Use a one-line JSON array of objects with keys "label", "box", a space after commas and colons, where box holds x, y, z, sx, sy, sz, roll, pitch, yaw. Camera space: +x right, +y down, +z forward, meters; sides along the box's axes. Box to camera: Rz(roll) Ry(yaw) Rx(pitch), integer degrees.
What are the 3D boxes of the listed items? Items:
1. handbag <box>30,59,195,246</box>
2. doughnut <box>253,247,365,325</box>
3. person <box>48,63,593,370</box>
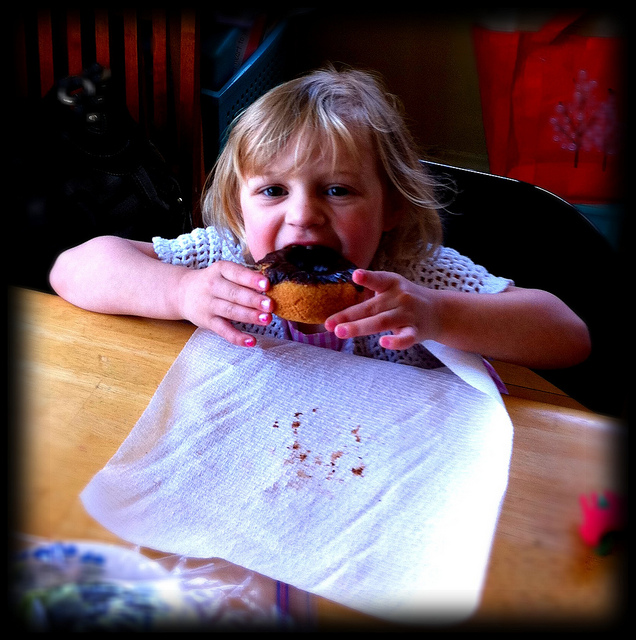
[{"label": "handbag", "box": [-0.548, -0.336, 1.510, 0.386, 0.504, 0.273, -14, -3, -19]}, {"label": "doughnut", "box": [-0.007, -0.048, 0.792, 0.136, 0.087, 0.094, -1, 18, -3]}, {"label": "person", "box": [-0.020, -0.184, 1.012, 0.777, 0.487, 0.661, -11, 21, -30]}]
